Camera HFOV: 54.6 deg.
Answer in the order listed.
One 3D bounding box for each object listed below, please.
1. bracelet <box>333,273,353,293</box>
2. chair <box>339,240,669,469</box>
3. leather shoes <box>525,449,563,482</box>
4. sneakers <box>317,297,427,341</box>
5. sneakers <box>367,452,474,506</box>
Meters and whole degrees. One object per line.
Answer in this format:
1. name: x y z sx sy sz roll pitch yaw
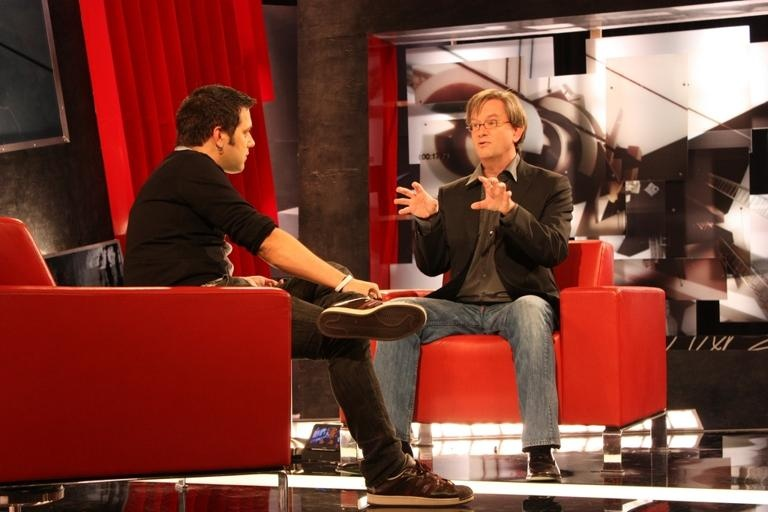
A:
1. bracelet: -0.168 0.099 2.888 0.065 0.017 0.058 -38 12 -8
2. chair: 0.556 0.469 3.562 1.639 1.164 0.905 -3 -7 31
3. leather shoes: 0.647 0.888 3.171 0.080 0.132 0.224 -1 -1 22
4. sneakers: -0.054 0.231 2.773 0.391 0.150 0.171 2 13 4
5. sneakers: 0.122 0.908 3.037 0.510 0.218 0.160 1 -7 -5
